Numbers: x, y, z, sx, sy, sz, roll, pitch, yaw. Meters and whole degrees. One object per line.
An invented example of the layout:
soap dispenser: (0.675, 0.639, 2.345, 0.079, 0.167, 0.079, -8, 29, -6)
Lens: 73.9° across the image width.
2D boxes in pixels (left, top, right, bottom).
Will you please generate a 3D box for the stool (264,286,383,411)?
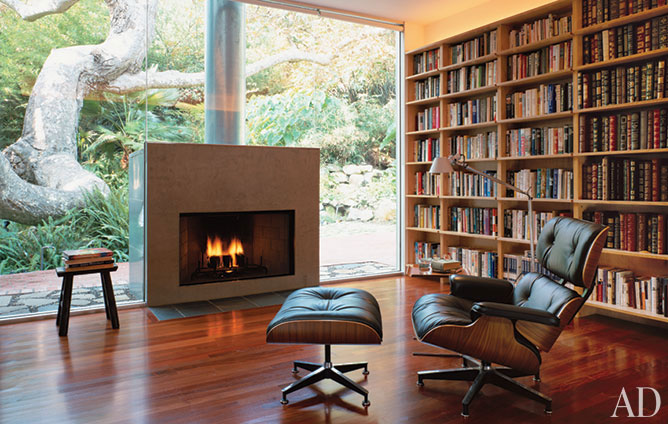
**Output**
stool: (-0.036, 1.024, 3.530, 0.849, 0.591, 0.872, 1, 5, 3)

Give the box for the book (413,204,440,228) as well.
book: (1.291, 0.071, 6.321, 0.345, 0.388, 0.443, 3, -3, -14)

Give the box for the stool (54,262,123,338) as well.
stool: (-2.500, 0.825, 4.460, 0.655, 0.508, 0.678, 0, 1, 43)

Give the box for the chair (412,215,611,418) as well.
chair: (1.305, 0.742, 3.479, 1.485, 1.246, 1.110, -1, 3, 0)

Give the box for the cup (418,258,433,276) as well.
cup: (1.007, 0.604, 4.853, 0.165, 0.148, 0.148, 1, -5, -13)

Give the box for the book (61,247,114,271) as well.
book: (-2.366, 0.454, 4.295, 0.285, 0.095, 0.318, 0, 1, 43)
